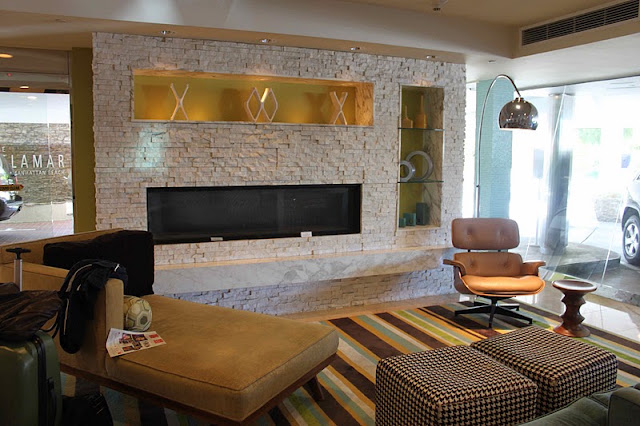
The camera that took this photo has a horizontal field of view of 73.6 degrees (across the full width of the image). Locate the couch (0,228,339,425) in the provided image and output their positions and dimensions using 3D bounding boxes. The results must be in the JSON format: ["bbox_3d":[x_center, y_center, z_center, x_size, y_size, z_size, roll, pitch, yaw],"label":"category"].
[{"bbox_3d":[-1.230,0.830,3.756,2.644,1.067,1.441,4,8,23],"label":"couch"}]

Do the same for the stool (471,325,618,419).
[{"bbox_3d":[1.726,1.148,3.374,0.743,0.375,0.681,-5,8,-35],"label":"stool"}]

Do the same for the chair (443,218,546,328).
[{"bbox_3d":[2.142,0.679,5.266,1.215,0.989,0.952,1,11,3],"label":"chair"}]

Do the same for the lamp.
[{"bbox_3d":[2.498,-0.866,5.922,0.621,2.196,2.317,7,15,19],"label":"lamp"}]

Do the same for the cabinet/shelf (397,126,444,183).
[{"bbox_3d":[1.324,-0.772,6.035,0.801,0.651,0.386,0,7,-4],"label":"cabinet/shelf"}]
